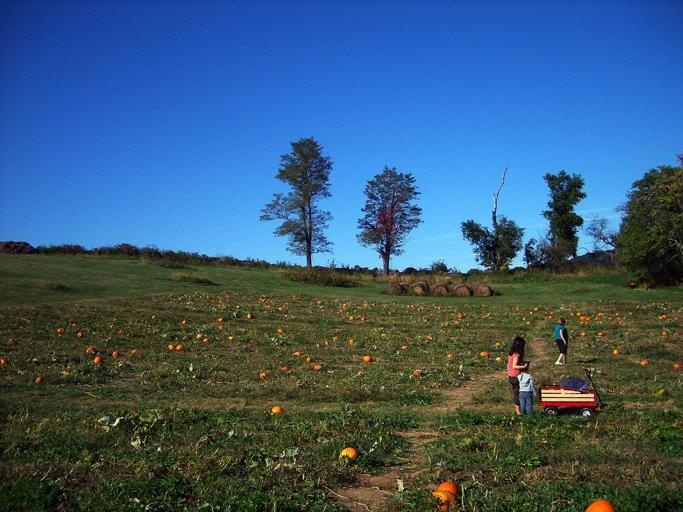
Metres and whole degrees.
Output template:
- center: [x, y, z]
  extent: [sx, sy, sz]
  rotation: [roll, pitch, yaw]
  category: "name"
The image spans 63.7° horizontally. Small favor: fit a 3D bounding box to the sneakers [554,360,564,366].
- center: [7.652, 3.732, 19.288]
  extent: [0.367, 0.165, 0.125]
  rotation: [-4, 1, 28]
  category: "sneakers"
